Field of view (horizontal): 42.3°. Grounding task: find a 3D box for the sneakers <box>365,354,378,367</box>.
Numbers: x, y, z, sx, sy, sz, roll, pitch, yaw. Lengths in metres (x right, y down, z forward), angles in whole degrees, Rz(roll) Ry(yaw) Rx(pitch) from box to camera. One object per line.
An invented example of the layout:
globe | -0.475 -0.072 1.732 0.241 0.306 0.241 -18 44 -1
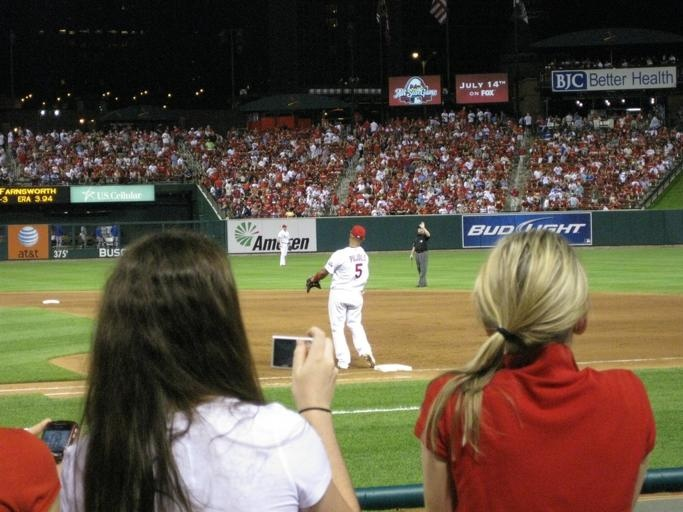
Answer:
sneakers | 0.384 1.346 11.291 0.105 0.177 0.048 -35 -7 -24

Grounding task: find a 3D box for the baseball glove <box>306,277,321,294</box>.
baseball glove | -0.357 0.364 11.206 0.246 0.178 0.346 0 -4 -7
